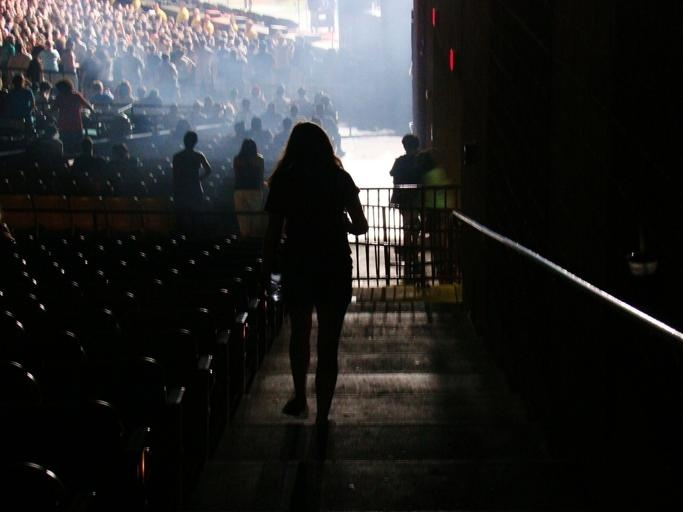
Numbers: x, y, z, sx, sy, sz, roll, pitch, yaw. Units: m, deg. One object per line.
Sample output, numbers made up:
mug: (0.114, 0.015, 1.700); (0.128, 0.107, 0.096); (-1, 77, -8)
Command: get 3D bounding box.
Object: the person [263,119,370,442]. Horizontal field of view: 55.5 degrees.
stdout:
person: (-0.154, 0.110, 4.065); (0.645, 1.860, 0.437); (-1, 4, -5)
